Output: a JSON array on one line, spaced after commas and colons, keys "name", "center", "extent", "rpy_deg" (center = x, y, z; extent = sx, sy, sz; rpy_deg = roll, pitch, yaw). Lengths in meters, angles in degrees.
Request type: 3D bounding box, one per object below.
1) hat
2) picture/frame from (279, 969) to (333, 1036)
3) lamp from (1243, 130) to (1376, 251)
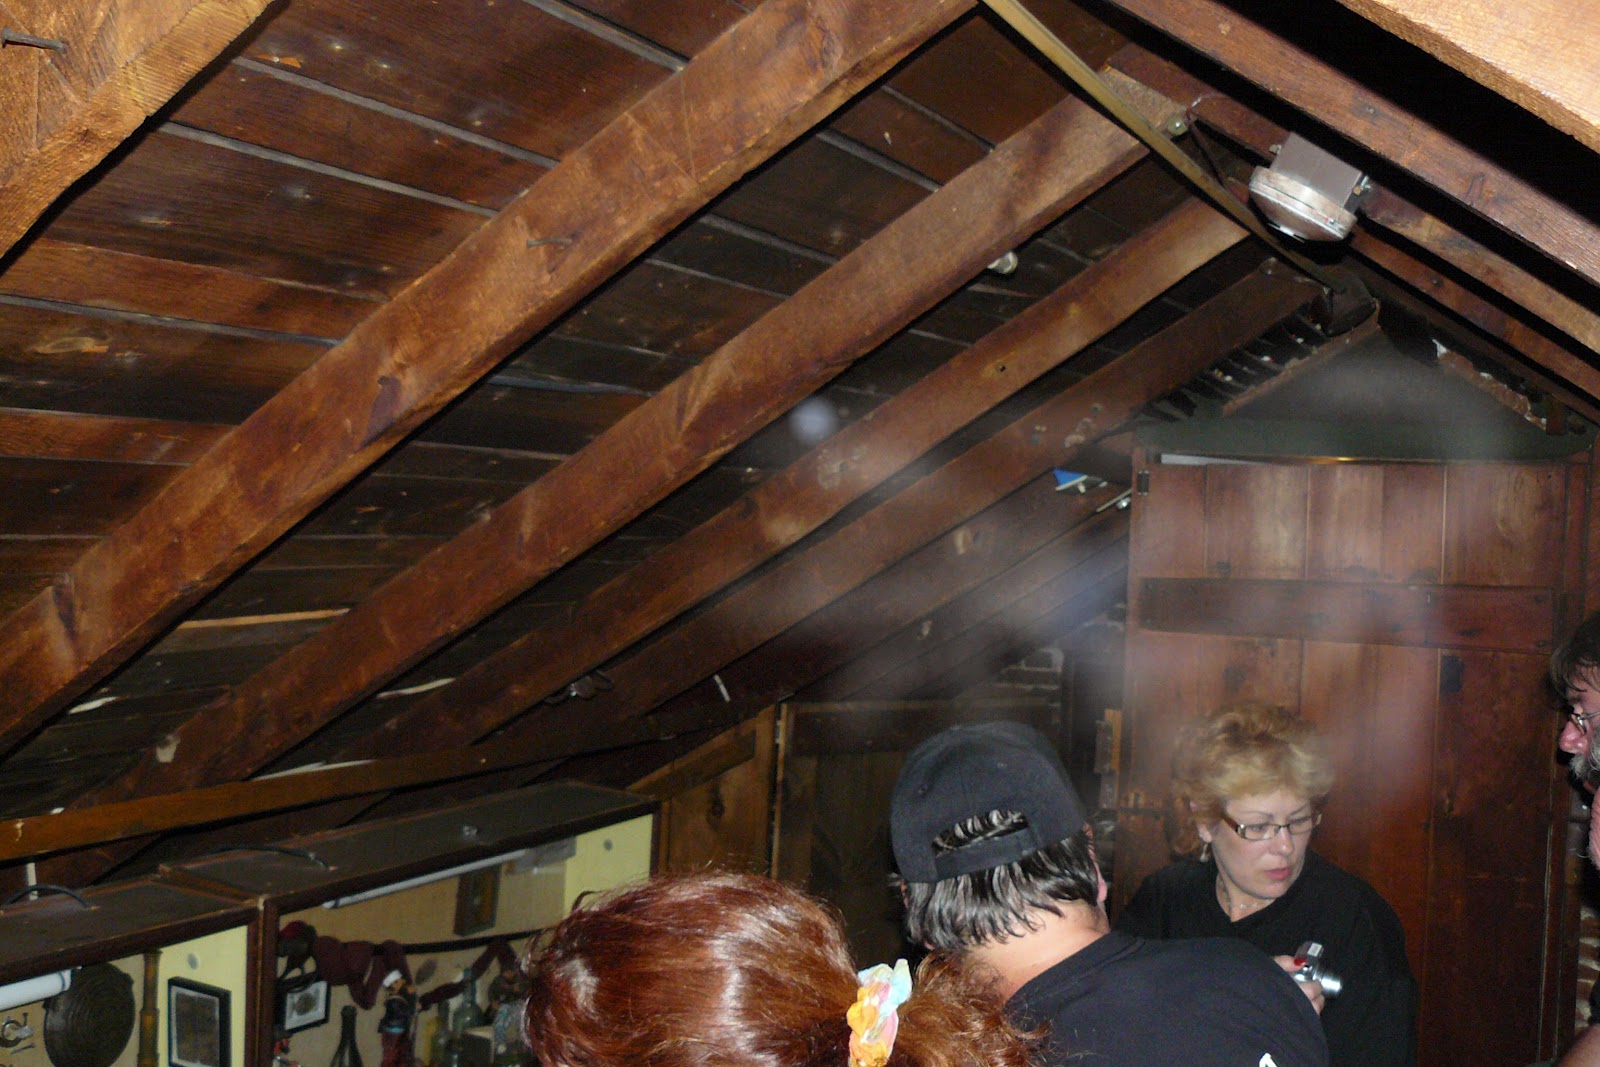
[{"name": "hat", "center": [0.394, 0.517, 2.773], "extent": [0.299, 0.199, 0.386], "rpy_deg": [-14, 6, 17]}, {"name": "picture/frame", "center": [-1.413, 1.317, 3.790], "extent": [0.105, 0.169, 0.206], "rpy_deg": [-6, -17, 3]}, {"name": "lamp", "center": [1.114, -0.760, 3.000], "extent": [0.247, 0.230, 0.130], "rpy_deg": [22, -35, -3]}]
